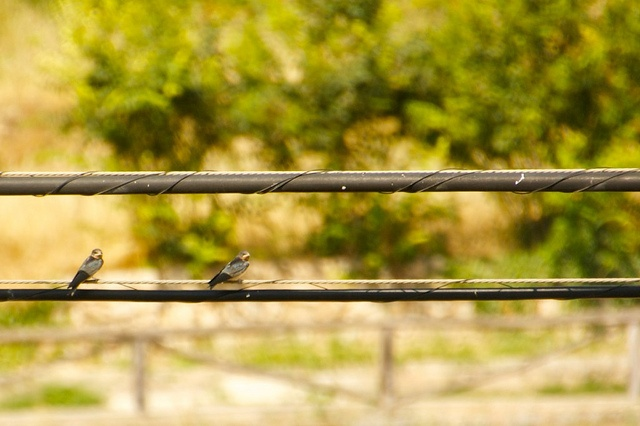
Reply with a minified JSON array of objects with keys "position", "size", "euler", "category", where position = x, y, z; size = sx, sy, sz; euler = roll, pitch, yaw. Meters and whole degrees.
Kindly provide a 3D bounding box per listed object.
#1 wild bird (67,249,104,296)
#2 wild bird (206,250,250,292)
[{"position":[-4.967,1.226,41.130],"size":[0.422,1.135,0.626],"euler":[21,-52,25],"category":"wild bird"},{"position":[-1.914,1.238,41.196],"size":[1.171,0.413,0.616],"euler":[-16,-83,-34],"category":"wild bird"}]
